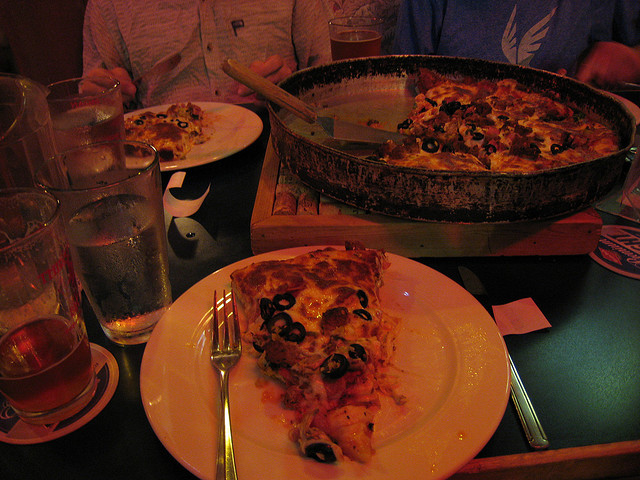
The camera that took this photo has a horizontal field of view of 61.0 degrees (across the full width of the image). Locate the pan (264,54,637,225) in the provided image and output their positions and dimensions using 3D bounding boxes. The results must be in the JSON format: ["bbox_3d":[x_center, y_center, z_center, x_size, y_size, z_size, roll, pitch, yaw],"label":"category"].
[{"bbox_3d":[0.522,-0.524,2.257,1.459,0.307,1.342,-7,35,-5],"label":"pan"}]

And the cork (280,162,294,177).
[{"bbox_3d":[-0.131,-0.277,2.169,0.059,0.016,0.054,-14,41,-27],"label":"cork"}]

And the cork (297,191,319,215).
[{"bbox_3d":[-0.045,-0.134,1.992,0.052,0.022,0.095,2,33,1],"label":"cork"}]

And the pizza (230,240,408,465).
[{"bbox_3d":[0.019,0.280,1.439,0.404,0.142,0.493,-11,53,-15],"label":"pizza"}]

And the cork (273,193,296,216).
[{"bbox_3d":[-0.128,-0.129,1.964,0.056,0.025,0.093,2,30,-1],"label":"cork"}]

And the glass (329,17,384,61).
[{"bbox_3d":[0.208,-1.109,3.120,0.305,0.277,0.353,-2,28,-2],"label":"glass"}]

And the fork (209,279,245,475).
[{"bbox_3d":[-0.245,0.335,1.450,0.067,0.062,0.536,4,52,-14],"label":"fork"}]
